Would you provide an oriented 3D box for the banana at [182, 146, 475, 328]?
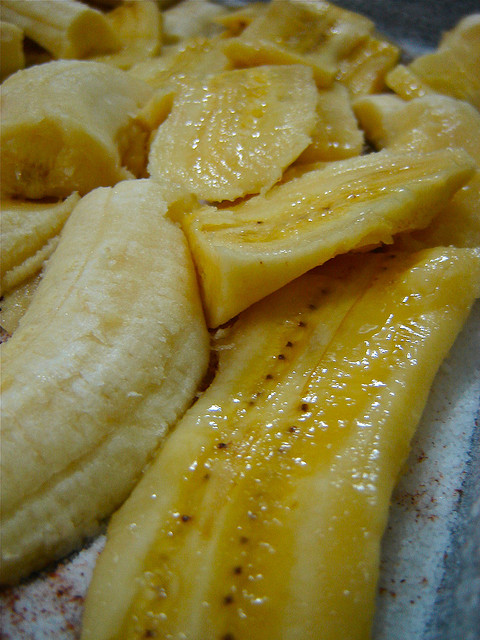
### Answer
[{"bbox_3d":[0.126,-0.071,0.693,0.300,0.082,0.151,-26,35,-5],"label":"banana"}]

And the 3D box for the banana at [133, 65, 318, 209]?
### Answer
[{"bbox_3d":[-0.014,-0.175,0.749,0.147,0.246,0.022,-34,63,11],"label":"banana"}]
